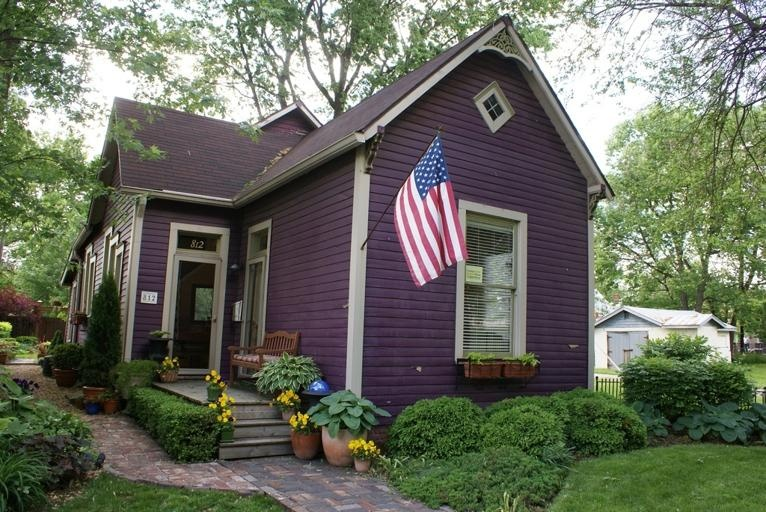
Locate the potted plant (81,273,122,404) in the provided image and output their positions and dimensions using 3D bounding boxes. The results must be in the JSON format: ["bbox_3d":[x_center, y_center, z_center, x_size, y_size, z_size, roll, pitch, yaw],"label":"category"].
[{"bbox_3d":[-6.589,1.838,13.769,0.952,2.450,1.938,-4,15,-22],"label":"potted plant"}]

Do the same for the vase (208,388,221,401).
[{"bbox_3d":[-3.124,2.541,10.884,0.265,0.182,0.249,5,-6,10],"label":"vase"}]

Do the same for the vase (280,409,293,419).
[{"bbox_3d":[-1.812,2.953,11.089,0.255,0.164,0.235,0,-4,7],"label":"vase"}]

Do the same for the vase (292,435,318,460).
[{"bbox_3d":[-1.388,3.390,10.595,0.498,0.340,0.486,-3,-13,33],"label":"vase"}]

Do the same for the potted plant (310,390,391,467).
[{"bbox_3d":[-0.714,3.041,10.453,1.389,0.960,1.373,5,-5,-42],"label":"potted plant"}]

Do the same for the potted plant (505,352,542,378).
[{"bbox_3d":[2.786,2.226,11.961,0.653,0.204,0.610,1,-3,-8],"label":"potted plant"}]

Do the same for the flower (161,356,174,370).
[{"bbox_3d":[-4.908,2.448,13.584,0.334,0.179,0.463,-2,13,-13],"label":"flower"}]

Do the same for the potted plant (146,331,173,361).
[{"bbox_3d":[-5.302,2.096,14.100,0.757,0.746,0.647,1,-1,-23],"label":"potted plant"}]

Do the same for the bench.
[{"bbox_3d":[-2.442,2.128,12.280,0.735,0.850,1.340,12,-18,-39],"label":"bench"}]

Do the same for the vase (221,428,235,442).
[{"bbox_3d":[-2.745,3.125,10.450,0.270,0.232,0.226,6,-13,-35],"label":"vase"}]

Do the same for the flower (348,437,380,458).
[{"bbox_3d":[-0.309,3.305,10.132,0.400,0.204,0.401,2,-8,45],"label":"flower"}]

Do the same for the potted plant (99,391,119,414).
[{"bbox_3d":[-5.995,3.257,13.178,0.447,0.405,0.422,1,-6,11],"label":"potted plant"}]

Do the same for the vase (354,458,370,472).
[{"bbox_3d":[-0.350,3.553,10.050,0.244,0.158,0.228,3,-4,-7],"label":"vase"}]

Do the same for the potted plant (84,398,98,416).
[{"bbox_3d":[-6.402,3.315,13.003,0.294,0.191,0.312,1,-4,36],"label":"potted plant"}]

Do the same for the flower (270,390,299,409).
[{"bbox_3d":[-1.804,2.649,11.033,0.441,0.224,0.416,2,-1,-18],"label":"flower"}]

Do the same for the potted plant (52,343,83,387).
[{"bbox_3d":[-8.346,2.888,15.646,1.080,1.097,1.079,7,-9,-34],"label":"potted plant"}]

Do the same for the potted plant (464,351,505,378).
[{"bbox_3d":[1.990,2.146,11.568,0.640,0.334,0.594,1,-7,-7],"label":"potted plant"}]

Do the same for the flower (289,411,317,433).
[{"bbox_3d":[-1.433,2.993,10.577,0.408,0.215,0.404,-1,1,-43],"label":"flower"}]

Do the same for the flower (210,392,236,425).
[{"bbox_3d":[-2.890,2.736,10.613,0.431,0.502,0.585,-2,14,-15],"label":"flower"}]

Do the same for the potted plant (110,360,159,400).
[{"bbox_3d":[-5.576,2.738,13.254,0.955,0.577,0.800,4,2,44],"label":"potted plant"}]

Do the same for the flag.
[{"bbox_3d":[0.759,-0.785,10.078,0.989,2.434,1.119,-3,14,-15],"label":"flag"}]
